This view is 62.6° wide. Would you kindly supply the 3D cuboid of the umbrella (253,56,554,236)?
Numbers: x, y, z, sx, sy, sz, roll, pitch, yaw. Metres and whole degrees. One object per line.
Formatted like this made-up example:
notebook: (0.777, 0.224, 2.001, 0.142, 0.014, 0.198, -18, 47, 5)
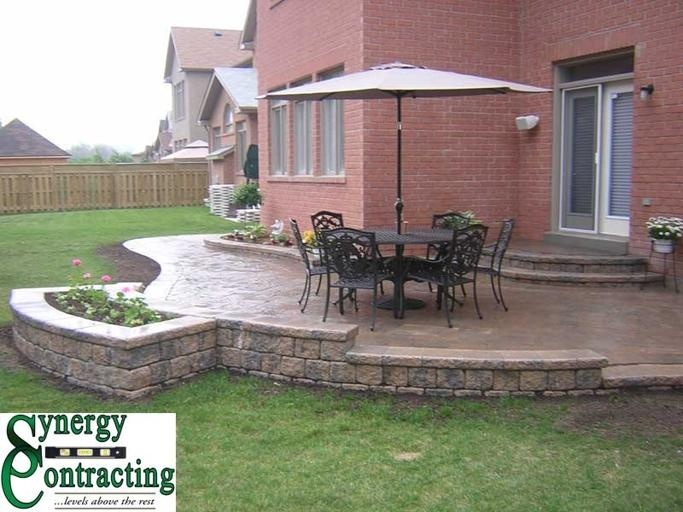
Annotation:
umbrella: (0.551, -1.197, 7.528, 3.710, 1.682, 3.501, 5, 12, 24)
